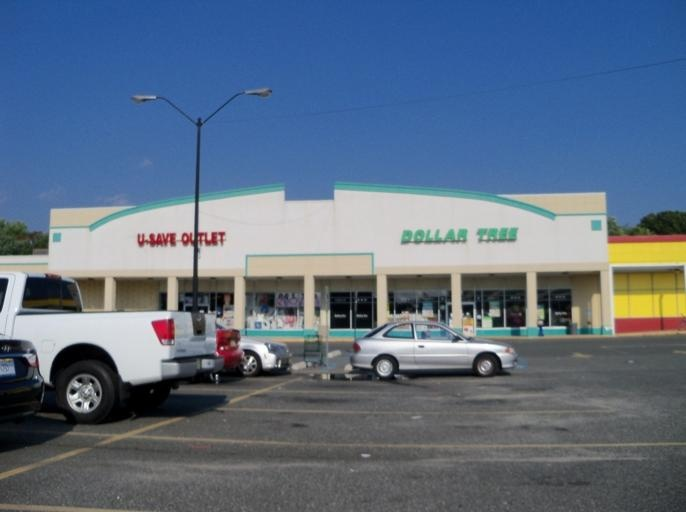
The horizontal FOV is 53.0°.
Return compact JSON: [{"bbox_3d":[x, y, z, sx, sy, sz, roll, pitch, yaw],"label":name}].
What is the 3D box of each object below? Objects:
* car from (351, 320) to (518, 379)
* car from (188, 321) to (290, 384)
[{"bbox_3d":[2.749,2.849,20.667,4.670,1.743,1.971,-2,-3,3],"label":"car"},{"bbox_3d":[-3.044,2.916,19.939,2.711,0.995,1.277,-1,-5,-3],"label":"car"}]
